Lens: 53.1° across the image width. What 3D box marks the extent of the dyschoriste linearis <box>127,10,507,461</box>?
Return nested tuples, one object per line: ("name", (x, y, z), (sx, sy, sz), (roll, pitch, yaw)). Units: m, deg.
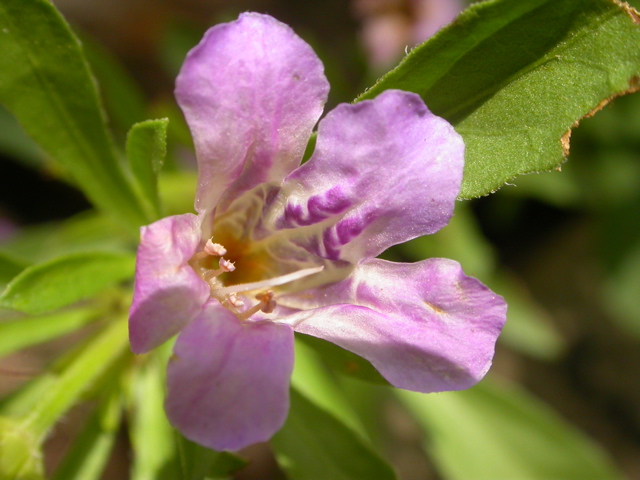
("dyschoriste linearis", (-0.047, 0.016, 1.175), (0.631, 0.424, 0.708), (-19, 70, -13))
